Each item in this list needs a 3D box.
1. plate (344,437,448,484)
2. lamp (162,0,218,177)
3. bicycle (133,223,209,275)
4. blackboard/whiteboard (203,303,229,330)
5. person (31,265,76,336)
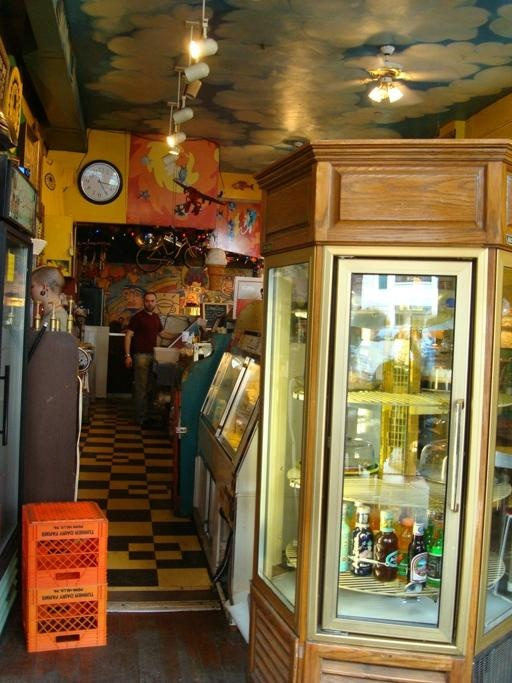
[{"bbox_3d":[0.464,0.395,1.907,0.240,0.073,0.171,0,-5,1],"label":"plate"},{"bbox_3d":[-0.682,-2.523,5.811,0.375,2.026,0.557,8,-19,1],"label":"lamp"},{"bbox_3d":[-1.742,-1.894,11.746,1.467,0.814,0.740,1,16,-12],"label":"bicycle"},{"bbox_3d":[-0.480,-0.302,6.801,0.312,0.296,0.492,3,1,-6],"label":"blackboard/whiteboard"},{"bbox_3d":[-1.280,-0.282,3.654,0.239,0.359,0.903,2,1,-21],"label":"person"}]
